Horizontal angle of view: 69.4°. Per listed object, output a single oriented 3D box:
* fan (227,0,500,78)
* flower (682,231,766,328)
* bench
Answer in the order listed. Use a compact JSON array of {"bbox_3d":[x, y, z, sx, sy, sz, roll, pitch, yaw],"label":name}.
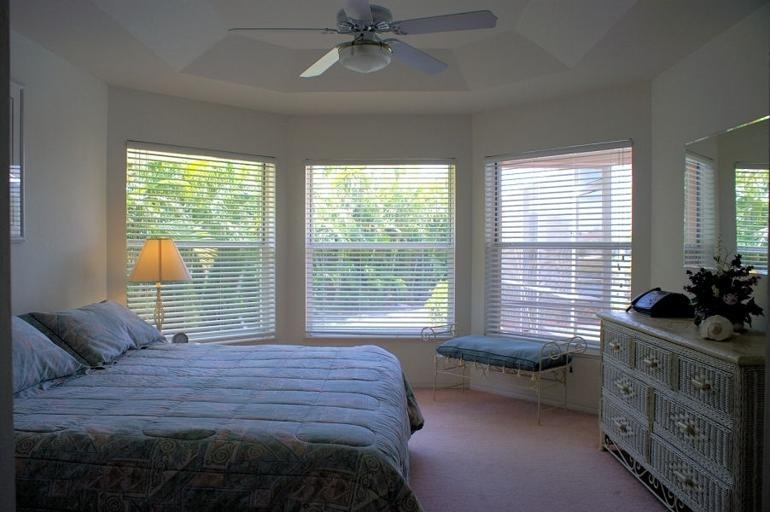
[{"bbox_3d":[-0.021,-1.475,3.729,1.034,0.228,1.004,-3,-4,28],"label":"fan"},{"bbox_3d":[2.208,0.174,3.907,0.600,0.680,0.563,1,-6,-5],"label":"flower"},{"bbox_3d":[1.126,1.134,5.585,0.644,0.678,1.451,2,-4,-40],"label":"bench"}]
